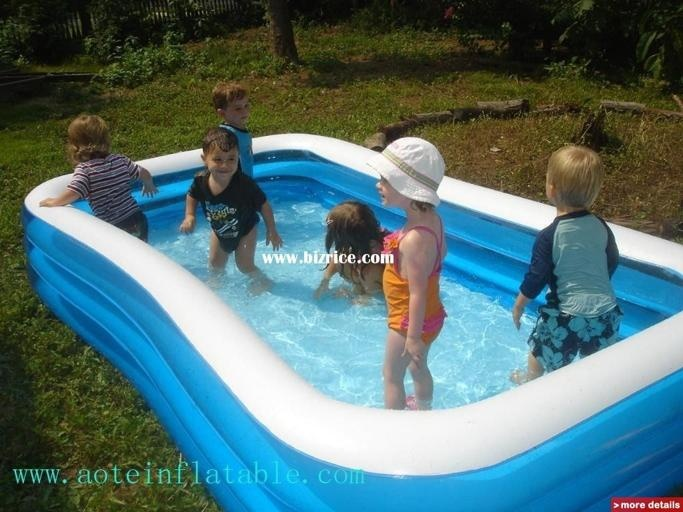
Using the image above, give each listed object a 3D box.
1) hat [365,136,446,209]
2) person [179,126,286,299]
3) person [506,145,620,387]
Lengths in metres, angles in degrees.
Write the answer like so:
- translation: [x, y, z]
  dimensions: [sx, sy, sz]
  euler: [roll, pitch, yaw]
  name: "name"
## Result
- translation: [0.318, -0.385, 2.797]
  dimensions: [0.347, 0.210, 0.313]
  euler: [33, 24, -5]
  name: "hat"
- translation: [-0.764, -0.330, 3.871]
  dimensions: [0.744, 1.048, 0.350]
  euler: [6, 28, 15]
  name: "person"
- translation: [1.182, 0.136, 2.893]
  dimensions: [0.487, 1.280, 0.459]
  euler: [13, 31, 28]
  name: "person"
